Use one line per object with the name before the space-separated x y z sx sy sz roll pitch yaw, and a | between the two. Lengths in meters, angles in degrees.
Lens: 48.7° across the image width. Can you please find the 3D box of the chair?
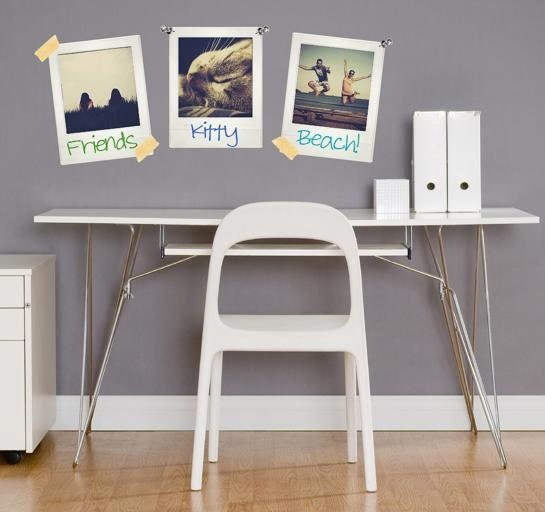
chair | 0.044 0.286 1.985 0.616 0.949 0.335 1 10 4
